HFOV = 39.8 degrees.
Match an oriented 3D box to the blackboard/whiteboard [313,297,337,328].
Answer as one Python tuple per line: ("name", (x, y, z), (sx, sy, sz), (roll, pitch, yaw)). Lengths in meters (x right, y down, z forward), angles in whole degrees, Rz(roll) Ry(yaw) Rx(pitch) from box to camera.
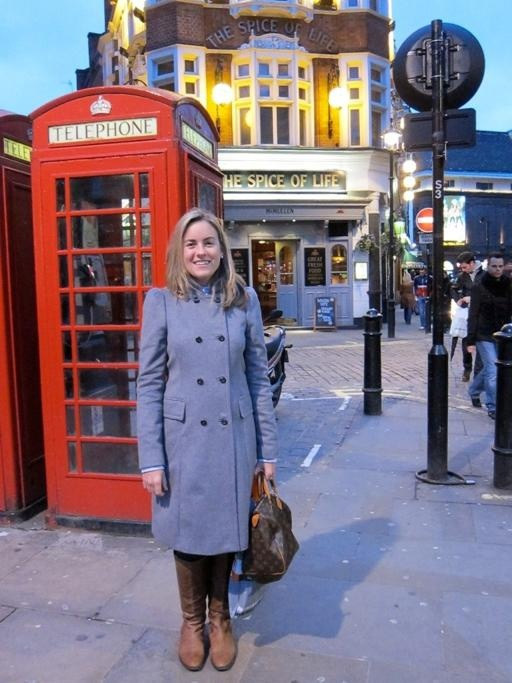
("blackboard/whiteboard", (1.824, -0.759, 18.892), (0.821, 1.109, 0.122), (0, -8, -1))

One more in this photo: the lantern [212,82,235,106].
("lantern", (-0.836, -6.240, 17.877), (0.679, 0.676, 0.775), (7, 16, 8))

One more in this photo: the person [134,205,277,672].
("person", (-0.196, 0.393, 2.864), (0.546, 1.847, 0.393), (-1, 6, -2))

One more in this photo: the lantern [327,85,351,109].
("lantern", (2.169, -6.396, 18.667), (0.665, 0.664, 0.713), (-7, 14, -12))

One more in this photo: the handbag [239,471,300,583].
("handbag", (0.052, 0.773, 2.811), (0.212, 0.466, 0.310), (0, 6, 4))

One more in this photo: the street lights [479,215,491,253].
("street lights", (16.271, -7.607, 50.486), (0.667, 2.545, 0.979), (1, 6, 18))

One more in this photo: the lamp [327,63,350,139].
("lamp", (2.100, -6.410, 18.963), (0.616, 2.065, 0.453), (-17, 37, -15))

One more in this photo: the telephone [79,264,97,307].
("telephone", (-1.006, -0.338, 4.212), (0.070, 0.211, 0.150), (-5, 0, 5))
